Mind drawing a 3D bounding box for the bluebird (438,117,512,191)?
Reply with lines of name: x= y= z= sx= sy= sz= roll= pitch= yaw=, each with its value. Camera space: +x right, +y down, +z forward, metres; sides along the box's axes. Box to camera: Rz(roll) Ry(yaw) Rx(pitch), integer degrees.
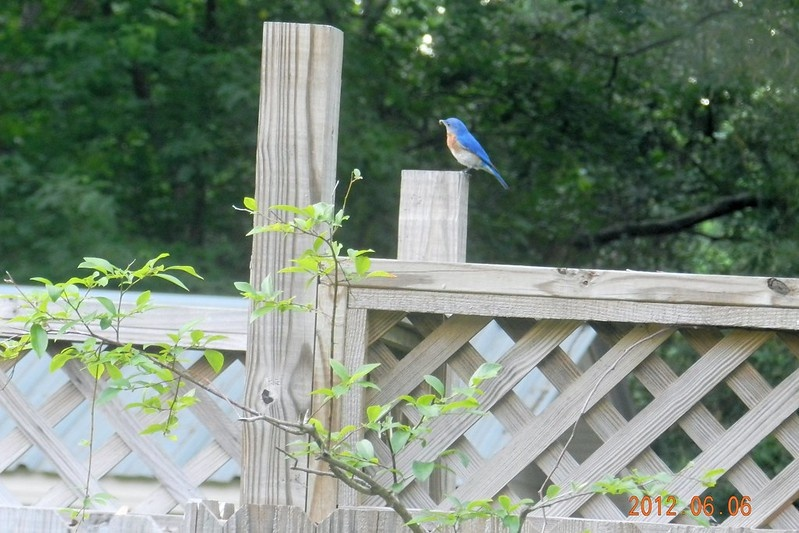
bluebird: x=0.743 y=-1.091 z=19.131 sx=0.782 sy=0.446 sz=0.257 roll=17 pitch=15 yaw=25
